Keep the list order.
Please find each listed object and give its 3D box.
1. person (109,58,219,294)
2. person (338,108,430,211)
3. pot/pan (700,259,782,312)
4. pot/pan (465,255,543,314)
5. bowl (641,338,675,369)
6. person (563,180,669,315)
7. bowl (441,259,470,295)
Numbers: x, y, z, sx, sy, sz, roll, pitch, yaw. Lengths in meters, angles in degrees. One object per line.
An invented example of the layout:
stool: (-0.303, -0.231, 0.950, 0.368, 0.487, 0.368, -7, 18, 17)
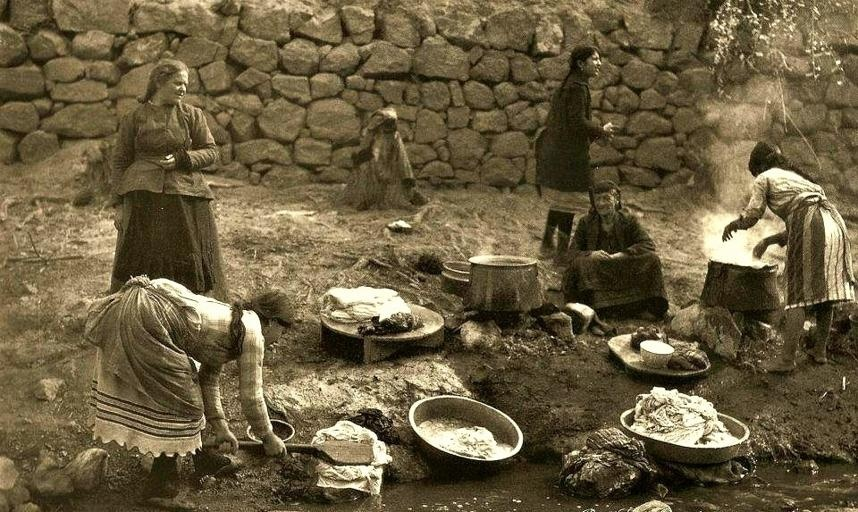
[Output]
person: (-3.114, -0.885, 14.184, 1.316, 2.890, 0.456, 0, 11, -15)
person: (-0.715, -1.449, 17.820, 1.237, 1.519, 0.320, 2, 10, -4)
pot/pan: (4.045, 0.403, 15.421, 0.813, 0.474, 0.769, 1, 1, -14)
pot/pan: (0.946, 0.386, 15.146, 0.820, 0.442, 0.791, 0, 4, 6)
bowl: (2.826, 1.218, 14.717, 0.365, 0.207, 0.357, 2, 1, 0)
person: (2.466, -0.079, 15.695, 1.351, 1.773, 0.452, 3, 10, 5)
bowl: (0.308, 0.305, 15.852, 0.435, 0.277, 0.412, 3, 6, 0)
